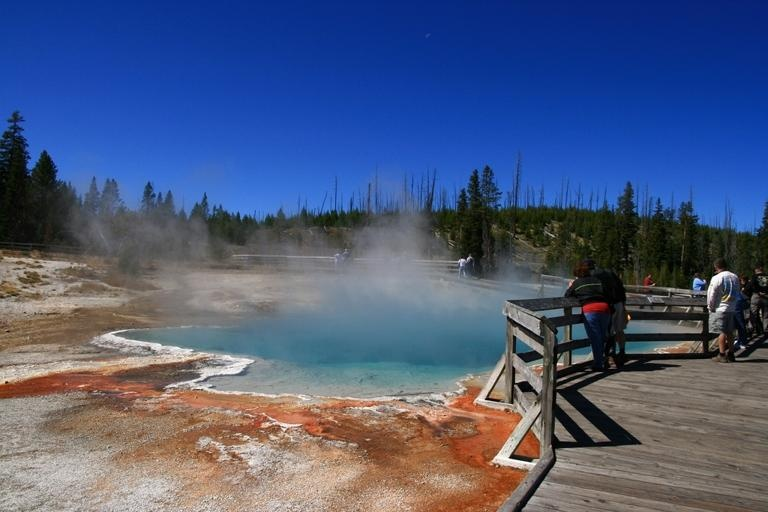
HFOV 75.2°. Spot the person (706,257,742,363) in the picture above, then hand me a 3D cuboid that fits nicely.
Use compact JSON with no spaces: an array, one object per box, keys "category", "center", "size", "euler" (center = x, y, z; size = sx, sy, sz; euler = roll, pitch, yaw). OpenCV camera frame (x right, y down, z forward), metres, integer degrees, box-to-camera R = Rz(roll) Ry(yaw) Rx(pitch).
[{"category":"person","center":[7.861,1.288,11.608],"size":[0.562,2.465,0.963],"euler":[5,5,36]}]

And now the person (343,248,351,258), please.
[{"category":"person","center":[-3.428,-0.280,46.222],"size":[0.617,0.655,1.426],"euler":[1,3,-8]}]

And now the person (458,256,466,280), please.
[{"category":"person","center":[6.027,0.892,38.116],"size":[0.526,1.234,1.544],"euler":[2,4,6]}]

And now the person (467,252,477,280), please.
[{"category":"person","center":[6.633,0.773,37.949],"size":[0.730,1.503,2.153],"euler":[3,4,9]}]

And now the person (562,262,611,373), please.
[{"category":"person","center":[4.513,1.369,10.978],"size":[1.092,2.409,0.707],"euler":[2,4,5]}]
